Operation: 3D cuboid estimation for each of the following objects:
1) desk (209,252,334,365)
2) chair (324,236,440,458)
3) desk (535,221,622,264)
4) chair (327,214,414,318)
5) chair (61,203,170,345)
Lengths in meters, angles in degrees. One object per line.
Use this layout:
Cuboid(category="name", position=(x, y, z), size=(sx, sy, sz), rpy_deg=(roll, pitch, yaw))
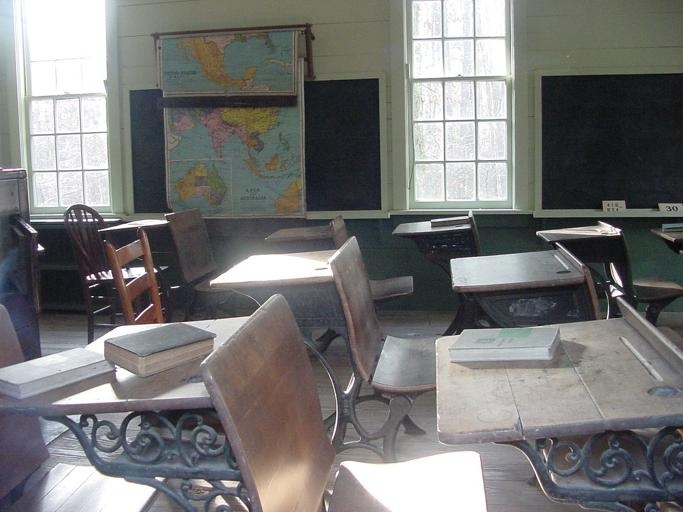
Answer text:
Cuboid(category="desk", position=(-0.238, 0.187, 3.134), size=(0.684, 0.389, 0.648), rpy_deg=(-3, 7, 9))
Cuboid(category="chair", position=(0.309, 0.511, 3.102), size=(0.649, 1.060, 1.275), rpy_deg=(2, 3, 8))
Cuboid(category="desk", position=(1.589, -0.032, 3.918), size=(0.598, 0.191, 0.441), rpy_deg=(1, -5, -22))
Cuboid(category="chair", position=(0.230, 0.029, 4.169), size=(0.643, 0.723, 0.757), rpy_deg=(-11, 13, 10))
Cuboid(category="chair", position=(-1.810, 0.208, 4.649), size=(0.838, 1.128, 0.699), rpy_deg=(8, -7, -27))
